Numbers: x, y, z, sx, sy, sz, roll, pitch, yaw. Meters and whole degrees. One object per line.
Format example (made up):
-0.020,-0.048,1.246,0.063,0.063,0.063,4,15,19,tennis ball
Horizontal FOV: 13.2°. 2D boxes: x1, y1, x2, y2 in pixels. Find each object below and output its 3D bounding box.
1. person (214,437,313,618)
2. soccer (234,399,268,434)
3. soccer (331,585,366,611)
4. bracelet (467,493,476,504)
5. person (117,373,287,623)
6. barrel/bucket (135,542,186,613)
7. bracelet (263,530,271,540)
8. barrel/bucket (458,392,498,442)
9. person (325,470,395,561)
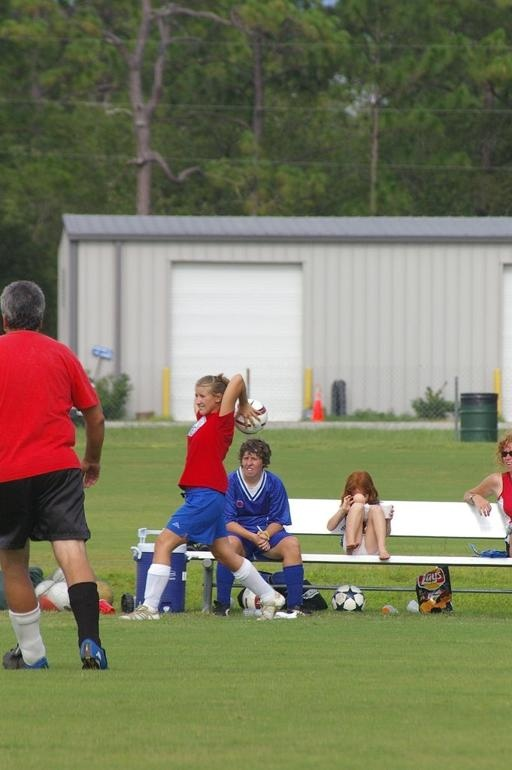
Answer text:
-0.009,1.277,19.892,0.645,1.789,0.891,0,-9,-8,person
-0.039,0.262,18.954,0.192,0.186,0.288,0,10,0,soccer
0.830,1.932,20.286,0.279,0.217,0.376,0,0,-1,soccer
1.999,1.046,20.640,0.051,0.095,0.027,-2,9,-13,bracelet
-0.392,0.961,18.892,1.061,2.096,0.831,0,0,-10,person
-0.830,1.723,19.922,0.624,0.828,0.461,1,-3,-11,barrel/bucket
0.093,1.324,19.840,0.025,0.081,0.046,-19,13,-36,bracelet
3.597,0.540,35.802,0.565,1.172,0.653,-2,4,-13,barrel/bucket
0.948,1.163,20.423,0.601,0.753,0.442,0,0,2,person
